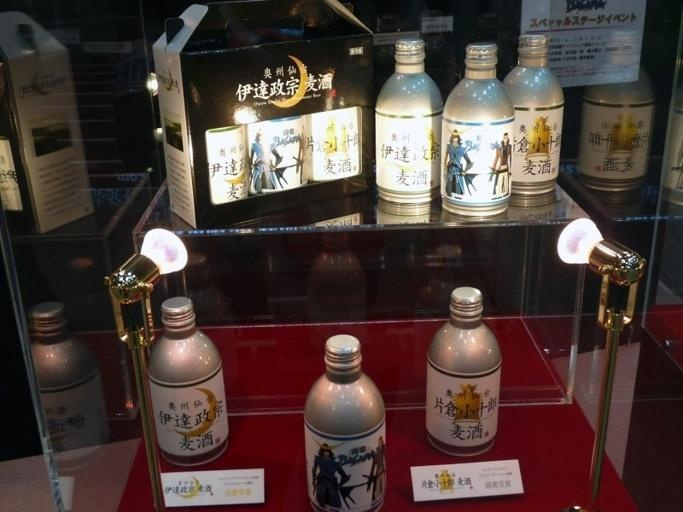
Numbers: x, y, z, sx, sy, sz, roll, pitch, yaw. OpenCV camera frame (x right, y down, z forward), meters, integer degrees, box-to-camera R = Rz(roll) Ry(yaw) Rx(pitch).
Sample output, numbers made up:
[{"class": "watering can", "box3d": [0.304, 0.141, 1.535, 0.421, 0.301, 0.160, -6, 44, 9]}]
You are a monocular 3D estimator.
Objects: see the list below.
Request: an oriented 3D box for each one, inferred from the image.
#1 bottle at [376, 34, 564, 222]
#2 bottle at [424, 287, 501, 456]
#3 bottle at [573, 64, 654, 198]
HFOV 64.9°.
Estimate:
[{"class": "bottle", "box3d": [0.243, -0.235, 0.992, 0.341, 0.310, 0.122, -6, 21, -9]}, {"class": "bottle", "box3d": [0.243, 0.216, 1.064, 0.148, 0.313, 0.152, -1, 16, 0]}, {"class": "bottle", "box3d": [0.588, -0.254, 1.135, 0.161, 0.244, 0.103, -10, 22, -17]}]
